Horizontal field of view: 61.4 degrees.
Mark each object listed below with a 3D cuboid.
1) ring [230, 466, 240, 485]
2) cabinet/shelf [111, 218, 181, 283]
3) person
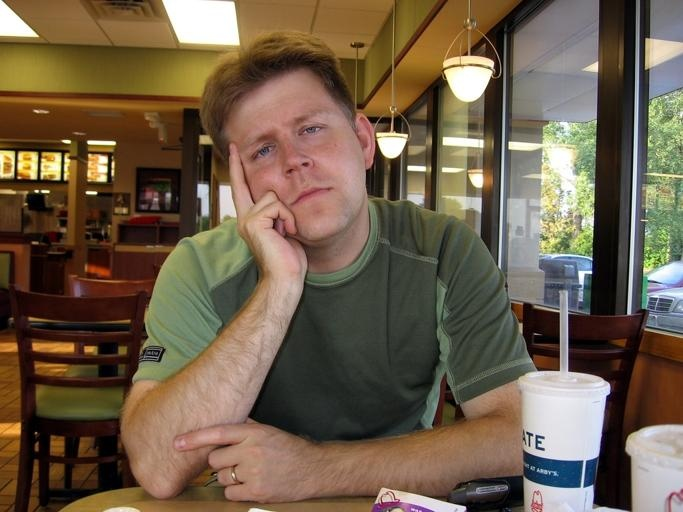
[{"bbox_3d":[-0.272,0.561,1.466,0.013,0.033,0.036,-10,22,-4],"label":"ring"},{"bbox_3d":[-2.667,-0.106,7.718,0.930,0.906,0.363,0,-3,-9],"label":"cabinet/shelf"},{"bbox_3d":[-0.072,0.019,1.859,1.240,1.384,0.865,-4,1,14],"label":"person"}]
